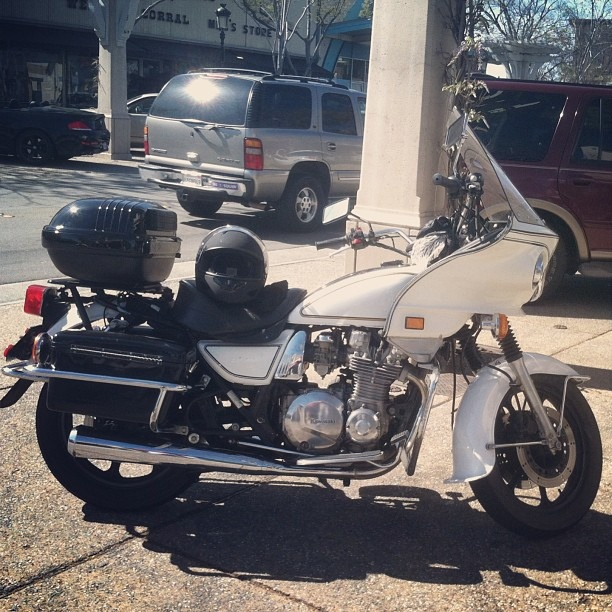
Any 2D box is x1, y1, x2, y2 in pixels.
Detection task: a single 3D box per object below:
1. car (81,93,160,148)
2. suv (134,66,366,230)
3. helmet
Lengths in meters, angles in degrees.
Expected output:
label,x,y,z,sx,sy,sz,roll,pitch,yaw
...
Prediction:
label,x,y,z,sx,sy,sz,roll,pitch,yaw
car,-5.465,-5.257,20.102,1.467,1.224,2.624,16,11,-41
suv,-0.084,-2.694,11.964,2.834,1.985,5.016,17,21,32
helmet,-0.346,-0.215,3.305,0.340,0.294,0.405,6,16,-6
